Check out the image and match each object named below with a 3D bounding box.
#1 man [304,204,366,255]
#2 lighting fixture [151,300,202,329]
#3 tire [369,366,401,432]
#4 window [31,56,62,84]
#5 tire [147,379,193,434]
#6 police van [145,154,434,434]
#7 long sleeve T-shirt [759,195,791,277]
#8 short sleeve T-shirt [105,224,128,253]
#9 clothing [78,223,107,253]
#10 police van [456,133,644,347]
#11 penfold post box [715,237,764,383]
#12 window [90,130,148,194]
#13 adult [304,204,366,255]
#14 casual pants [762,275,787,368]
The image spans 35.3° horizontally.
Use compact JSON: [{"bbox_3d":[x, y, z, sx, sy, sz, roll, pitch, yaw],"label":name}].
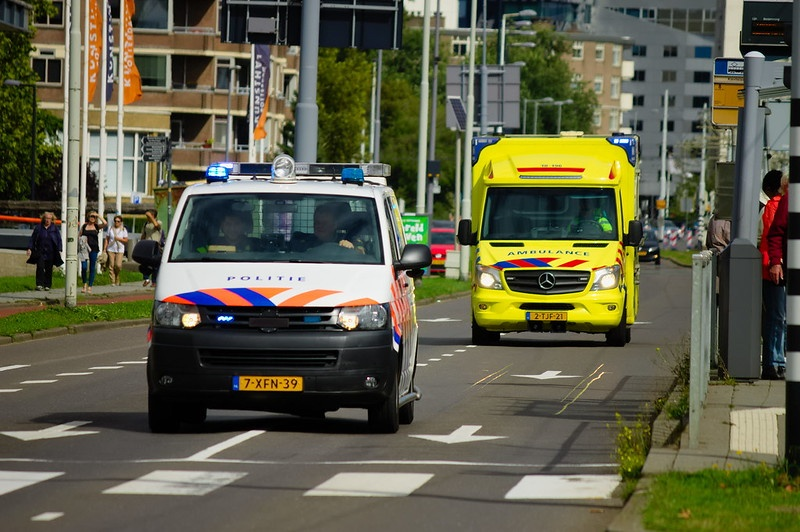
[{"bbox_3d":[-0.710,-0.405,13.876,0.441,0.645,0.548,0,0,9],"label":"man"},{"bbox_3d":[-2.343,0.515,13.099,0.586,0.255,0.112,1,7,23],"label":"lighting fixture"},{"bbox_3d":[-0.170,1.388,13.338,0.190,0.661,0.618,-1,6,9],"label":"tire"},{"bbox_3d":[-18.871,-10.366,67.185,1.516,1.365,0.644,-3,6,-15],"label":"window"},{"bbox_3d":[-2.454,1.475,13.311,0.564,0.914,0.298,0,-2,-16],"label":"tire"},{"bbox_3d":[-1.171,0.370,14.741,2.134,2.110,3.639,-1,-4,3],"label":"police van"},{"bbox_3d":[4.699,-0.393,15.703,0.257,1.040,0.445,-8,13,-9],"label":"long sleeve T-shirt"},{"bbox_3d":[-8.654,-0.781,38.153,0.606,0.817,0.827,-3,7,-10],"label":"short sleeve T-shirt"},{"bbox_3d":[-8.920,-0.801,36.142,0.830,0.898,0.465,1,-7,-9],"label":"clothing"},{"bbox_3d":[2.734,-0.587,22.712,2.971,3.412,1.367,-1,6,2],"label":"police van"},{"bbox_3d":[4.338,0.561,16.023,0.542,1.785,0.478,1,6,22],"label":"penfold post box"},{"bbox_3d":[-13.879,-4.893,62.094,2.975,3.479,13.677,-3,7,-13],"label":"window"},{"bbox_3d":[-0.706,-0.404,13.872,0.441,0.645,0.548,0,0,9],"label":"adult"},{"bbox_3d":[4.849,0.775,16.114,0.296,1.186,0.249,11,-16,-42],"label":"casual pants"}]
